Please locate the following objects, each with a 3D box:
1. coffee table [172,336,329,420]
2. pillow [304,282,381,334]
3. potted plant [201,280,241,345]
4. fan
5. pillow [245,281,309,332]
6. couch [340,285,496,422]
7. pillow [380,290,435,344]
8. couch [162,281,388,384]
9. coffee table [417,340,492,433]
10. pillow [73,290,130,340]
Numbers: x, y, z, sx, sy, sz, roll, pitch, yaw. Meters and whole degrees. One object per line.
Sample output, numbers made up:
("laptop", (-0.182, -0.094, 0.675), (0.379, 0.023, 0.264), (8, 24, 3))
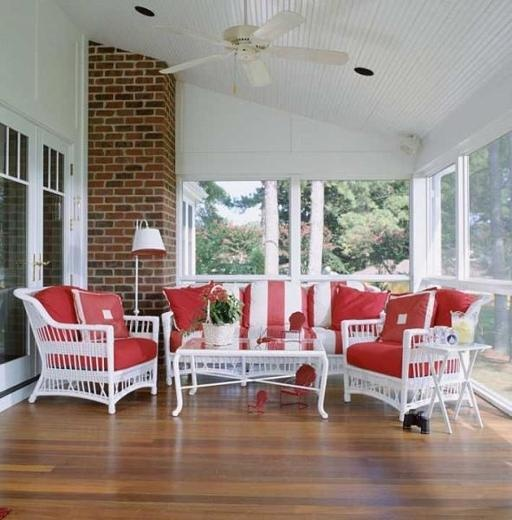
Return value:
("coffee table", (-0.048, 0.806, 4.198), (1.153, 0.564, 1.527), (0, 3, -4))
("pillow", (0.841, 0.399, 4.704), (0.485, 0.467, 0.148), (1, -13, 40))
("potted plant", (-0.243, 0.387, 3.752), (0.254, 0.415, 0.217), (0, 3, -6))
("fan", (-0.004, -1.262, 3.230), (0.909, 0.170, 0.769), (2, 3, 42))
("pillow", (0.165, 0.397, 4.809), (0.465, 0.412, 0.131), (-2, -12, 0))
("couch", (1.218, 0.648, 4.025), (0.956, 0.941, 0.927), (5, -9, -25))
("pillow", (1.139, 0.432, 3.991), (0.187, 0.380, 0.486), (0, -8, -27))
("couch", (0.197, 0.630, 4.809), (2.019, 0.789, 0.629), (0, 13, 5))
("coffee table", (1.268, 0.805, 3.455), (0.392, 0.494, 0.373), (0, -2, -15))
("pillow", (-1.194, 0.389, 4.131), (0.121, 0.369, 0.413), (-26, -21, 28))
